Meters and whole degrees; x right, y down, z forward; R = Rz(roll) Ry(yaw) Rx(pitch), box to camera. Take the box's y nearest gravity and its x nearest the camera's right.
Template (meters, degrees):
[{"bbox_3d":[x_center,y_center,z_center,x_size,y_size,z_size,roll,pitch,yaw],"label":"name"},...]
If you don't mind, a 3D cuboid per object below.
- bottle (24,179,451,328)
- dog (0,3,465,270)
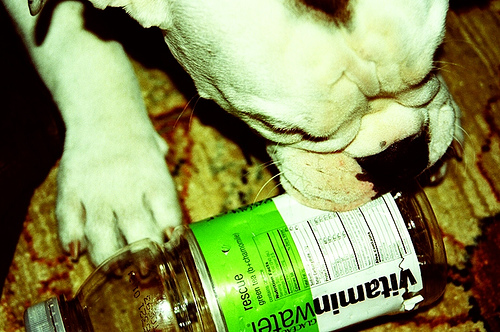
[{"bbox_3d":[-0.048,0.266,1.536,0.706,0.246,0.288,-20,100,-2],"label":"bottle"},{"bbox_3d":[-0.052,-0.229,1.592,1.259,0.756,0.805,-4,63,-7],"label":"dog"}]
